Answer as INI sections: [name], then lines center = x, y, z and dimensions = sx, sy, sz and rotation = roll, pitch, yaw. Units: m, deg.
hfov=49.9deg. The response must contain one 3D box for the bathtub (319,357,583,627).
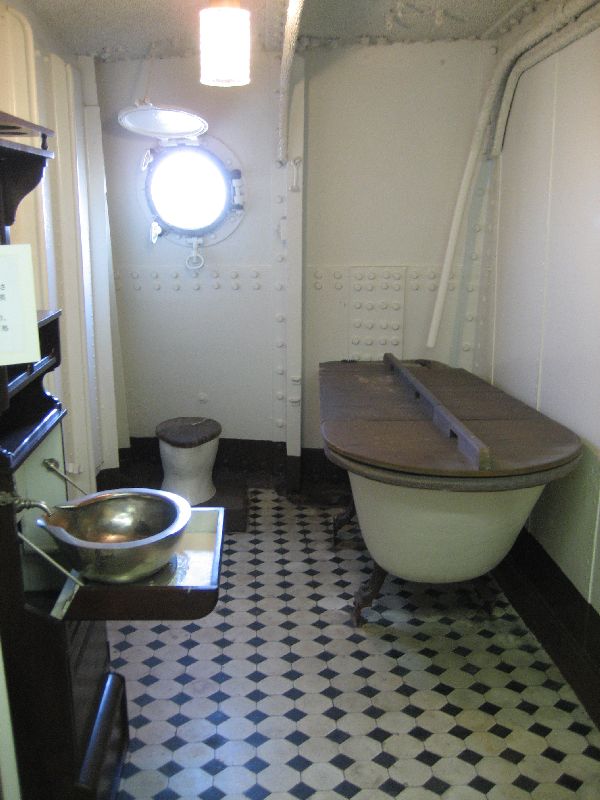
[bathtub]
center = 0.690, 0.432, 2.809
dimensions = 0.562, 0.542, 1.196
rotation = 1, 18, 1

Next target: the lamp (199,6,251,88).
[lamp]
center = -0.292, -1.314, 2.380
dimensions = 0.203, 0.272, 0.151
rotation = 1, 12, 8
